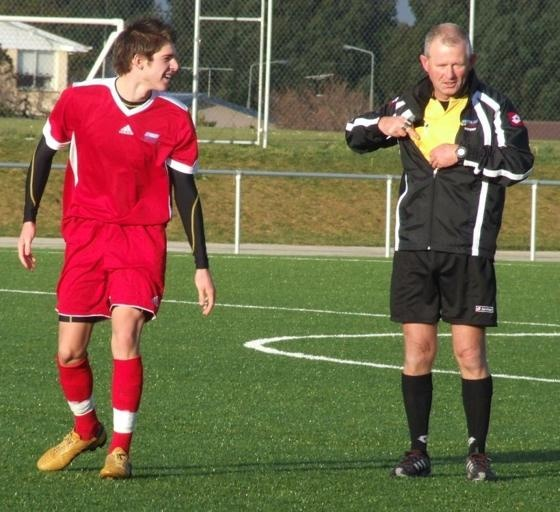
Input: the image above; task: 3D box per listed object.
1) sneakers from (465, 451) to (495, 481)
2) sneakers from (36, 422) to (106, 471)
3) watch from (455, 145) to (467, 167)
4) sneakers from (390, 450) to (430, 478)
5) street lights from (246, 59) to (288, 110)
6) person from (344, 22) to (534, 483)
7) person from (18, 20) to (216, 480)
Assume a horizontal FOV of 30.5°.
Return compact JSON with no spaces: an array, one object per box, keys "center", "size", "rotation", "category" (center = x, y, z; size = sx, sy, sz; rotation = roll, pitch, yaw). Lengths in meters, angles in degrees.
[{"center":[0.880,0.928,4.493],"size":[0.121,0.105,0.136],"rotation":[2,6,7],"category":"sneakers"},{"center":[-0.934,0.868,4.633],"size":[0.339,0.128,0.119],"rotation":[-25,36,-35],"category":"sneakers"},{"center":[0.788,-0.442,4.464],"size":[0.058,0.083,0.061],"rotation":[1,10,3],"category":"watch"},{"center":[0.588,0.925,4.509],"size":[0.217,0.107,0.074],"rotation":[6,-8,-41],"category":"sneakers"},{"center":[-0.278,-3.468,20.383],"size":[0.872,1.138,0.774],"rotation":[0,12,6],"category":"street lights"},{"center":[0.727,-0.038,4.637],"size":[0.761,1.985,0.525],"rotation":[3,6,16],"category":"person"},{"center":[-0.739,-0.064,4.612],"size":[0.897,2.012,0.607],"rotation":[1,6,-5],"category":"person"}]
